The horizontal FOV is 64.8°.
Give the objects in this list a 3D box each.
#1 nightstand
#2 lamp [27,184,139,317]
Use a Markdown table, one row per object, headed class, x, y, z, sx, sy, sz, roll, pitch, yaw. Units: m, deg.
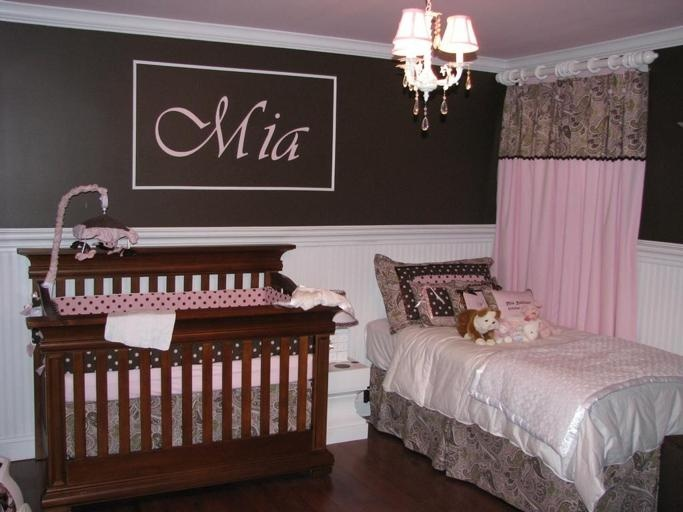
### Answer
| class | x | y | z | sx | sy | sz | roll | pitch | yaw |
| --- | --- | --- | --- | --- | --- | --- | --- | --- | --- |
| nightstand | 0.050 | 1.044 | 4.108 | 0.447 | 0.629 | 0.514 | -1 | 5 | -12 |
| lamp | -1.612 | -0.095 | 3.799 | 0.869 | 1.145 | 0.564 | 3 | 14 | -17 |
